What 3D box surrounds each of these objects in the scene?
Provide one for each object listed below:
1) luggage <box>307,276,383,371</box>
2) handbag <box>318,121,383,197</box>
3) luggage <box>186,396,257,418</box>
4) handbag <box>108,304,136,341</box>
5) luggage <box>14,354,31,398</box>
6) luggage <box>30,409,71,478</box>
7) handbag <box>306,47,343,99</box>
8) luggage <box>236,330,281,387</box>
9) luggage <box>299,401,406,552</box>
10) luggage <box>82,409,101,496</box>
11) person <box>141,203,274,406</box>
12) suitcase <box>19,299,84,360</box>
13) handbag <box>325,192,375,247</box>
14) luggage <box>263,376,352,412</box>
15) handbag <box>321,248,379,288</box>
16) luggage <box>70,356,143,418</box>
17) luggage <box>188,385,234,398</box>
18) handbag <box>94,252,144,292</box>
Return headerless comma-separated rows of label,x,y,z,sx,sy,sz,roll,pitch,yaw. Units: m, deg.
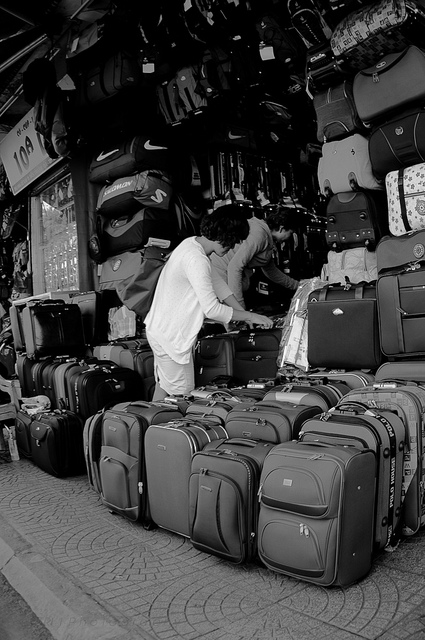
luggage,0.748,0.042,2.549,0.126,0.512,0.461,1,-8,-44
handbag,0.936,-1.124,3.240,0.376,0.443,0.444,-20,12,-30
luggage,0.028,0.448,2.301,0.204,0.081,0.149,-2,-2,-44
handbag,-0.989,0.027,4.939,0.351,0.485,0.258,4,8,41
luggage,-1.923,0.560,4.588,0.103,0.456,0.593,-1,-7,-29
luggage,-1.175,0.913,3.264,0.259,0.450,0.438,-1,-2,-39
handbag,0.789,-1.763,3.183,0.225,0.239,0.162,-1,-3,-45
luggage,0.341,0.273,3.198,0.343,0.493,0.274,5,9,40
luggage,0.522,0.548,1.650,0.321,0.490,0.274,3,7,40
luggage,-0.715,0.817,2.712,0.104,0.517,0.298,-3,-6,-20
person,-0.101,-0.120,2.851,0.794,1.209,0.510,-9,-7,39
suitcase,-1.596,0.070,4.527,0.598,0.607,0.347,-2,-6,-25
handbag,1.023,-0.735,3.259,0.212,0.408,0.403,-6,2,-42
luggage,0.441,0.355,2.149,0.188,0.088,0.252,-8,2,-36
handbag,1.017,-0.390,3.326,0.360,0.289,0.146,-3,-15,14
luggage,-0.862,0.478,3.547,0.341,0.651,0.480,2,13,44
luggage,0.018,0.422,2.600,0.132,0.048,0.101,0,4,-37
handbag,-1.035,-0.559,5.281,0.220,0.566,0.452,35,-1,-34
